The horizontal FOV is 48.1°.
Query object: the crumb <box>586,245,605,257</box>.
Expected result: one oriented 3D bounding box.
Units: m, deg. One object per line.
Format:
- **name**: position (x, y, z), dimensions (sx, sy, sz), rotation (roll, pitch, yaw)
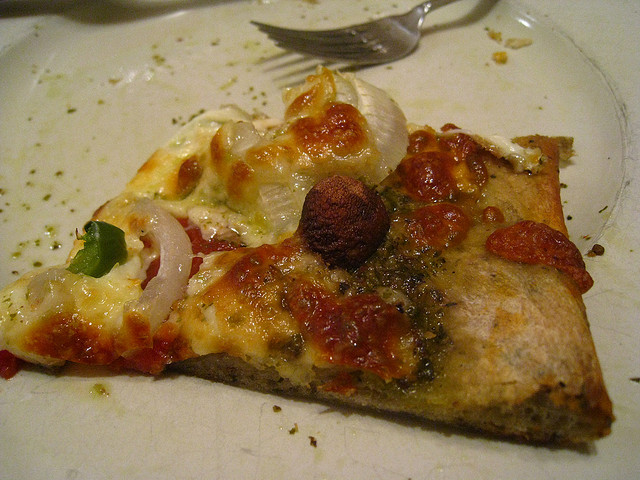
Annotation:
- **crumb**: position (1.612, 0.056, 4.180), dimensions (0.076, 0.016, 0.058), rotation (-23, 48, 7)
